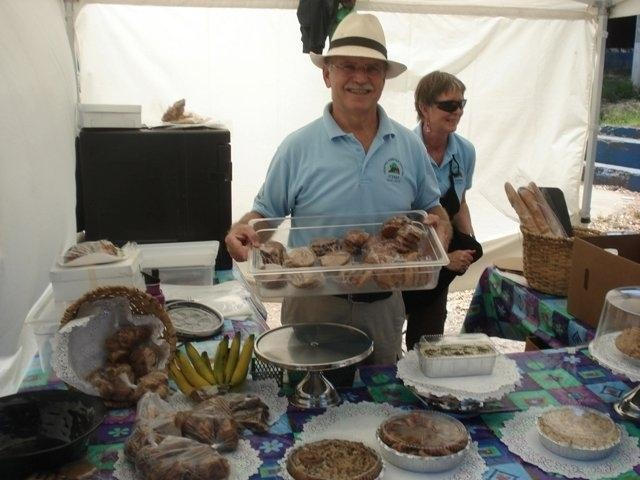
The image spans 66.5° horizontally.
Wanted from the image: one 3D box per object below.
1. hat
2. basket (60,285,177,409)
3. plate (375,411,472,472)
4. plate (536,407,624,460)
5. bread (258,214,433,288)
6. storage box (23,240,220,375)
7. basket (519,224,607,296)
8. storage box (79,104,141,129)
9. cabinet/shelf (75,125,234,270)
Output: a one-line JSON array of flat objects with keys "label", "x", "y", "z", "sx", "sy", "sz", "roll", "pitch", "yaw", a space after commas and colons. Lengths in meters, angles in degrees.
[{"label": "hat", "x": 0.211, "y": -1.031, "z": 2.603, "sx": 0.396, "sy": 0.185, "sz": 0.405, "roll": 5, "pitch": -2, "yaw": 0}, {"label": "basket", "x": -0.852, "y": 0.447, "z": 2.037, "sx": 0.461, "sy": 0.512, "sz": 0.171, "roll": -11, "pitch": -4, "yaw": -18}, {"label": "plate", "x": 0.374, "y": 0.743, "z": 1.786, "sx": 0.319, "sy": 0.125, "sz": 0.220, "roll": -7, "pitch": 15, "yaw": -5}, {"label": "plate", "x": 0.998, "y": 0.742, "z": 1.876, "sx": 0.297, "sy": 0.069, "sz": 0.310, "roll": 3, "pitch": 12, "yaw": 40}, {"label": "bread", "x": 0.106, "y": 0.068, "z": 2.121, "sx": 0.636, "sy": 0.112, "sz": 0.390, "roll": -1, "pitch": 31, "yaw": -3}, {"label": "storage box", "x": -1.012, "y": 0.348, "z": 2.560, "sx": 0.914, "sy": 0.329, "sz": 0.586, "roll": -1, "pitch": 20, "yaw": -2}, {"label": "basket", "x": 1.509, "y": 0.124, "z": 3.146, "sx": 0.461, "sy": 0.368, "sz": 0.494, "roll": 0, "pitch": 6, "yaw": -2}, {"label": "storage box", "x": -1.473, "y": -0.869, "z": 3.424, "sx": 0.418, "sy": 0.202, "sz": 0.172, "roll": -10, "pitch": 16, "yaw": -15}, {"label": "cabinet/shelf", "x": -1.239, "y": -0.485, "z": 4.024, "sx": 1.000, "sy": 1.404, "sz": 0.778, "roll": -3, "pitch": 10, "yaw": -10}]
